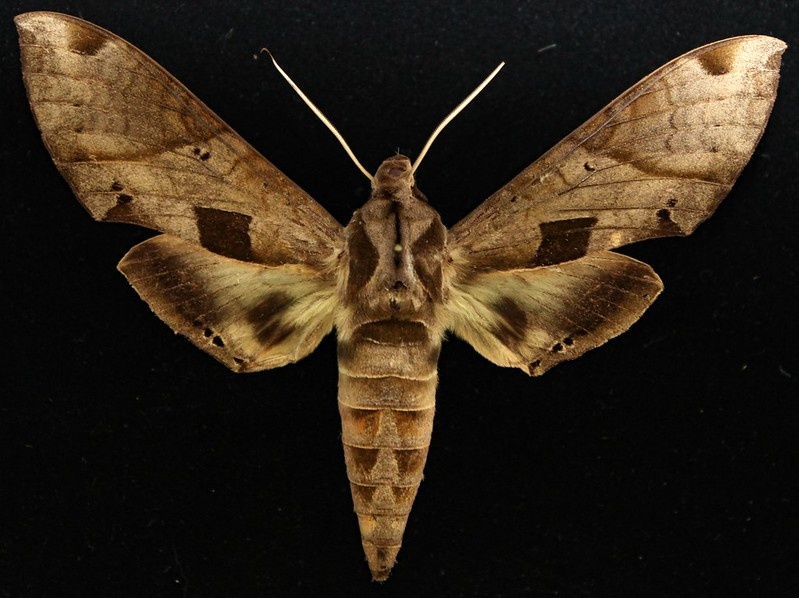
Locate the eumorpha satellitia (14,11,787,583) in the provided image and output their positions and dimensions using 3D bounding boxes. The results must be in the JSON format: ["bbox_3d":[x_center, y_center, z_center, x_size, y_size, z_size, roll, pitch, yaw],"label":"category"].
[{"bbox_3d":[-0.004,0.108,3.959,3.674,0.739,2.002,2,82,-1],"label":"eumorpha satellitia"}]
